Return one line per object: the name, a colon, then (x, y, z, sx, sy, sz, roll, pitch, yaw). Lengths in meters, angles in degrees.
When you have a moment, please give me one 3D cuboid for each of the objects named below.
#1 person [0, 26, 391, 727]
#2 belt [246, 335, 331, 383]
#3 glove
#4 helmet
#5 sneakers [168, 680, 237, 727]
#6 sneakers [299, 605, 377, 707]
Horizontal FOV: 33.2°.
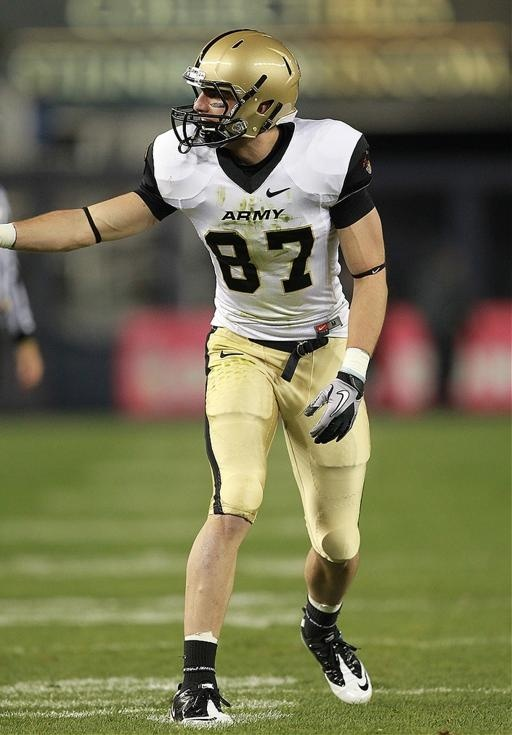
person: (-0.018, 0.036, 2.202, 0.809, 1.777, 0.634, -6, 8, -37)
belt: (0.095, -0.034, 2.316, 0.171, 0.044, 0.113, -17, 21, -9)
glove: (0.186, 0.092, 2.024, 0.124, 0.173, 0.073, 23, -2, 6)
helmet: (-0.060, -0.715, 2.184, 0.381, 0.261, 0.263, -8, 23, -17)
sneakers: (-0.115, 0.740, 1.886, 0.133, 0.111, 0.122, -2, 6, -14)
sneakers: (0.218, 0.826, 2.479, 0.124, 0.113, 0.312, -27, 52, -18)
